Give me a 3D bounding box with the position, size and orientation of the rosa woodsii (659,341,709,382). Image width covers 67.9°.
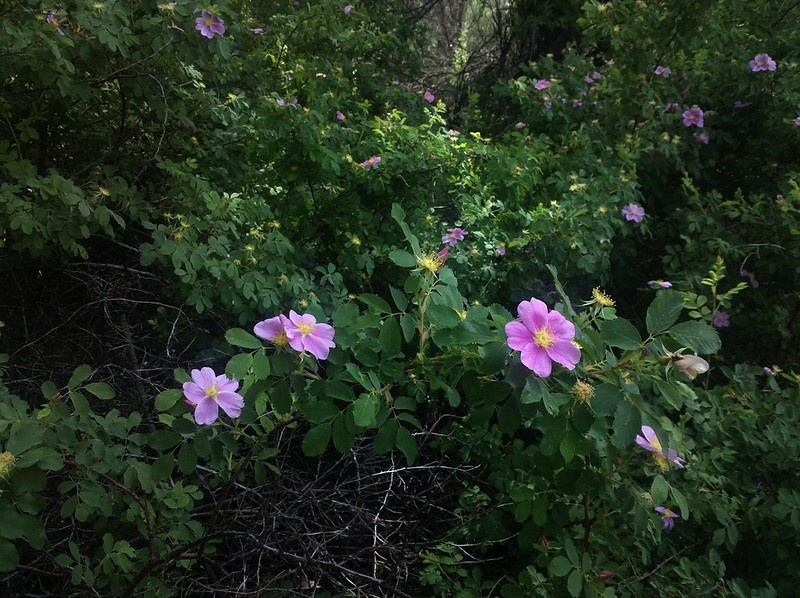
[{"bbox_3d":[1.116,0.245,2.345,0.146,0.055,0.156,14,59,12],"label":"rosa woodsii"}]
